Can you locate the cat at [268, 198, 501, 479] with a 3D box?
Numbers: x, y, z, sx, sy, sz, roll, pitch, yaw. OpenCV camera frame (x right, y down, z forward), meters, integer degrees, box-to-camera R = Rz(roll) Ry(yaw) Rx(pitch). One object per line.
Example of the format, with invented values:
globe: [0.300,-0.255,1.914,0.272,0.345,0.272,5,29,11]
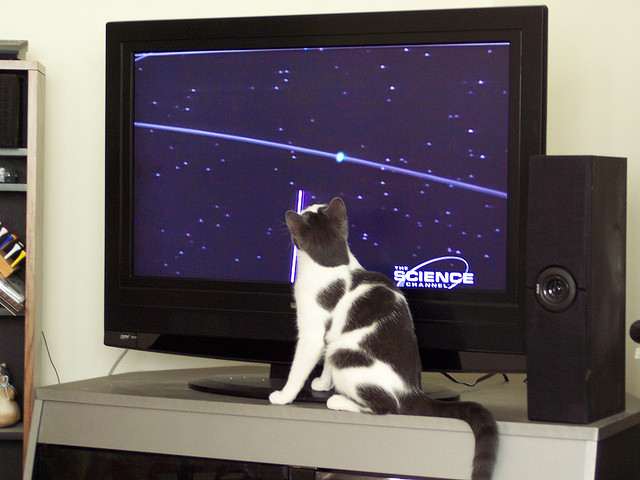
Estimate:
cat: [0.185,0.267,1.954,0.649,0.753,0.193,3,7,16]

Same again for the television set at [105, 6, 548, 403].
television set: [0.063,-0.111,2.162,1.182,1.067,0.298,1,-2,13]

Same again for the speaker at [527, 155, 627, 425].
speaker: [0.727,0.134,1.875,0.323,0.731,0.152,-1,6,-14]
